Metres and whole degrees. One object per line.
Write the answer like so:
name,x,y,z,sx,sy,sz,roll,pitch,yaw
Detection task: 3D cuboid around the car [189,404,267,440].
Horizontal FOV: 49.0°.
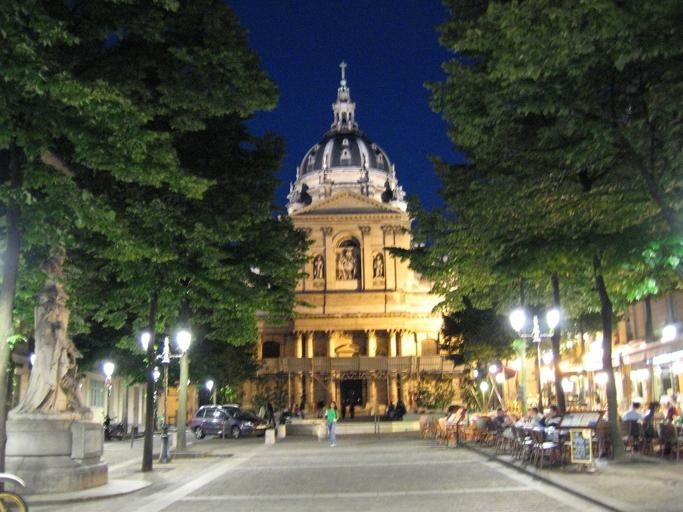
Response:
car,-7.160,10.420,46.697,3.934,2.043,2.533,-6,-14,17

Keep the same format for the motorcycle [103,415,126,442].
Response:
motorcycle,-12.936,9.905,42.495,0.819,1.109,1.608,2,-6,-1
